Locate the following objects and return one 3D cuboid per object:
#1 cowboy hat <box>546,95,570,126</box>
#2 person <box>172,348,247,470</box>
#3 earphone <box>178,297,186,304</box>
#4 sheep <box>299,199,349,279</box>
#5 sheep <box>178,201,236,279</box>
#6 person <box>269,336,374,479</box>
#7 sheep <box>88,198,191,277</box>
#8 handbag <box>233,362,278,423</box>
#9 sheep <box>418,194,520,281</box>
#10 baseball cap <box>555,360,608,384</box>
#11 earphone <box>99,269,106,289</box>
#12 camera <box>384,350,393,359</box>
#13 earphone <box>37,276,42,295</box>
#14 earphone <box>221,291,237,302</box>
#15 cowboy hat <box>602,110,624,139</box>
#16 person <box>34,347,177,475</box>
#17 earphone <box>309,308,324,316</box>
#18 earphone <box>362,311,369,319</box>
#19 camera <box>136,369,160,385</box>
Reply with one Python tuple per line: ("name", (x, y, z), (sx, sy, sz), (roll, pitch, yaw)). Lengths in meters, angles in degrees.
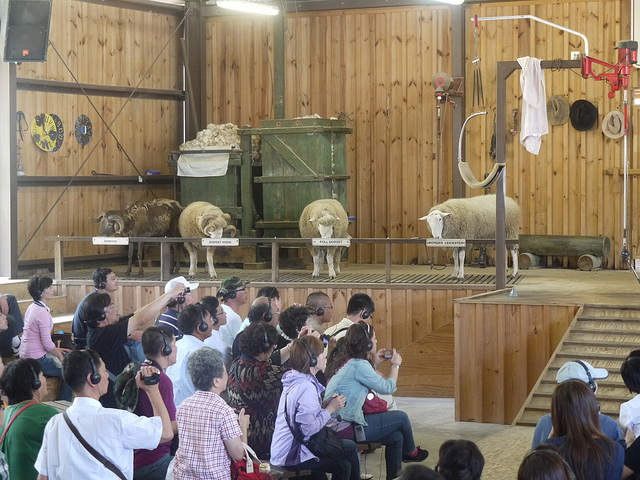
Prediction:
("cowboy hat", (3.633, -1.965, 13.873), (0.382, 0.556, 0.118), (-11, -3, 38))
("person", (-0.834, 1.312, 7.063), (0.438, 1.422, 0.415), (12, 18, 28))
("earphone", (-1.278, 0.546, 8.589), (0.059, 0.115, 0.047), (3, -3, -30))
("sheep", (0.062, -0.056, 12.660), (0.596, 1.120, 0.852), (0, -2, 21))
("sheep", (-1.675, -0.067, 13.160), (0.496, 1.195, 1.313), (-5, 10, -32))
("person", (0.023, 1.309, 7.683), (0.876, 1.679, 0.699), (-5, 12, -16))
("sheep", (-2.531, -0.072, 13.270), (1.451, 1.158, 0.797), (2, -2, -34))
("handbag", (-0.563, 1.286, 7.727), (0.095, 0.453, 0.429), (-26, -12, -1))
("sheep", (2.192, -0.093, 12.671), (0.921, 1.224, 1.535), (-1, -2, 42))
("baseball cap", (2.105, 1.024, 7.320), (0.306, 0.156, 0.216), (-7, 8, -26))
("earphone", (-2.161, 0.380, 9.183), (0.064, 0.180, 0.055), (1, -2, -17))
("camera", (0.608, 0.961, 7.898), (0.072, 0.077, 0.171), (1, -2, 3))
("earphone", (-2.807, 0.441, 9.227), (0.047, 0.175, 0.046), (-1, -2, 35))
("earphone", (-0.884, 0.544, 9.177), (0.143, 0.103, 0.060), (1, -2, -10))
("cowboy hat", (4.410, -1.732, 13.631), (0.287, 0.402, 0.082), (-2, 2, 32))
("person", (-1.577, 1.303, 6.942), (0.525, 1.101, 0.453), (9, 20, 28))
("earphone", (0.003, 0.672, 8.842), (0.083, 0.051, 0.072), (-7, -6, 24))
("earphone", (0.454, 0.682, 8.586), (0.055, 0.071, 0.180), (0, -2, 11))
("camera", (-1.276, 1.010, 6.892), (0.166, 0.105, 0.110), (1, -2, -8))
